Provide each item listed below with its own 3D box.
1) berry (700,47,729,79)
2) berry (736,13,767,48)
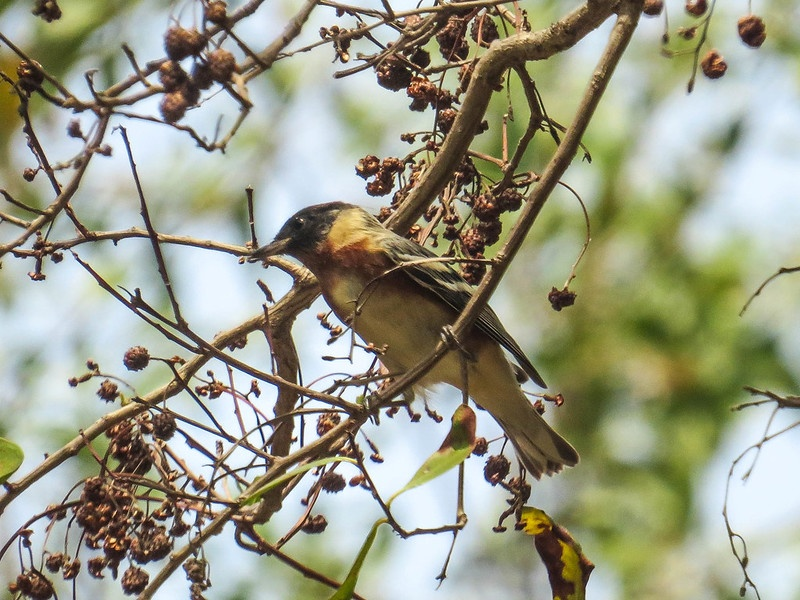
[{"bbox_3d":[1.617,-1.213,6.213,0.130,0.049,0.143,1,-90,16],"label":"berry"},{"bbox_3d":[1.779,-1.359,6.161,0.115,0.070,0.164,-4,-90,-4],"label":"berry"}]
